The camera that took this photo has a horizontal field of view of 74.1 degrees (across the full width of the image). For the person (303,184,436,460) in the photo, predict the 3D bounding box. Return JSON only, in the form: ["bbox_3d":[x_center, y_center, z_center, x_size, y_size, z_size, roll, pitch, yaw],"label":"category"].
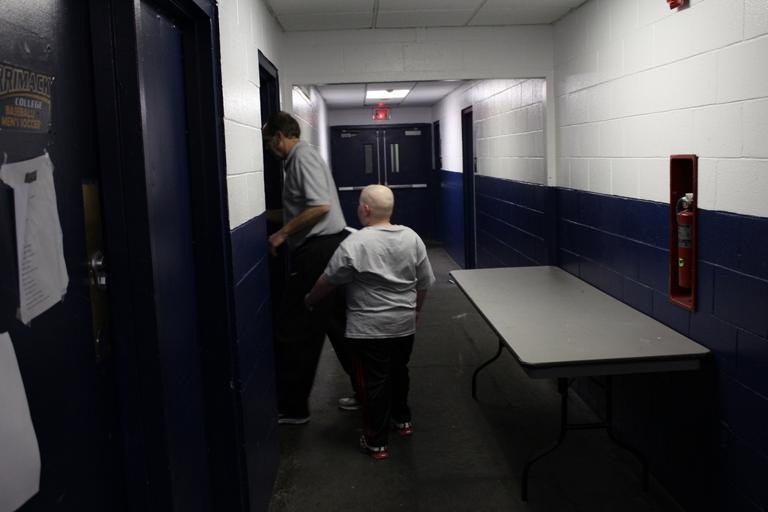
[{"bbox_3d":[-0.063,0.450,3.519,0.818,1.827,0.379,-4,10,-11],"label":"person"}]

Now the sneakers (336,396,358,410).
[{"bbox_3d":[-0.309,1.213,4.229,0.152,0.066,0.093,0,7,10],"label":"sneakers"}]

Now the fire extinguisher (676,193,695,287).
[{"bbox_3d":[1.714,-0.063,2.912,0.099,0.567,0.207,4,12,30],"label":"fire extinguisher"}]
